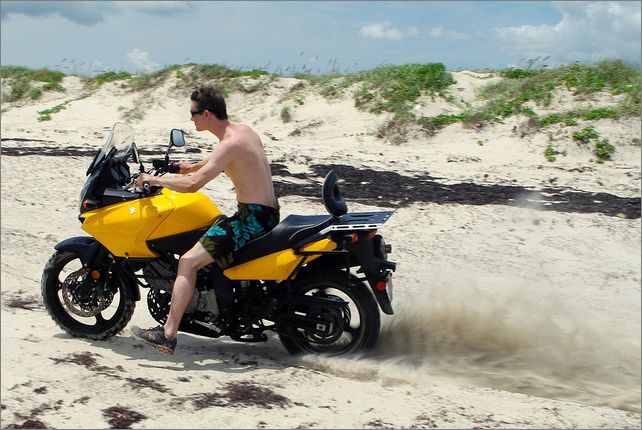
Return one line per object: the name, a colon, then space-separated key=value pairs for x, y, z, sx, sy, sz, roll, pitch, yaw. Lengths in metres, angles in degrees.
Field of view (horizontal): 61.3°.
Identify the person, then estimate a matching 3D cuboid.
person: x=-1.240 y=0.051 z=5.849 sx=1.557 sy=2.860 sz=0.872 roll=-4 pitch=18 yaw=-19
